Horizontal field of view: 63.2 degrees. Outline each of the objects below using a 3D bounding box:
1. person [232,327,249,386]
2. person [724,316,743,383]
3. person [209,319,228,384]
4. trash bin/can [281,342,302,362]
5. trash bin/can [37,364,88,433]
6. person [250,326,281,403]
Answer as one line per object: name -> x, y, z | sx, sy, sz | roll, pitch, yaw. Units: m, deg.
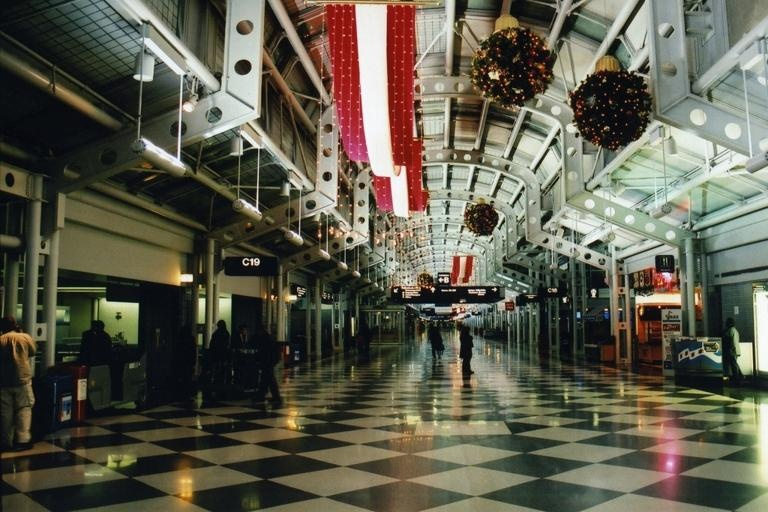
person -> -3.360, 2.275, 14.431 | 0.345, 1.472, 1.089 | 2, -12, -13
person -> 8.776, 2.369, 15.726 | 0.397, 1.601, 0.719 | -7, -14, 28
person -> -3.780, 2.175, 14.240 | 0.455, 1.427, 0.605 | 2, -12, -15
trash bin/can -> -3.189, 3.327, 21.193 | 0.947, 0.592, 0.676 | 7, -14, -35
trash bin/can -> -5.499, 2.434, 10.729 | 0.832, 1.335, 1.569 | 3, -7, -33
person -> -2.531, 2.328, 13.449 | 0.579, 1.639, 0.880 | 1, -12, -12
